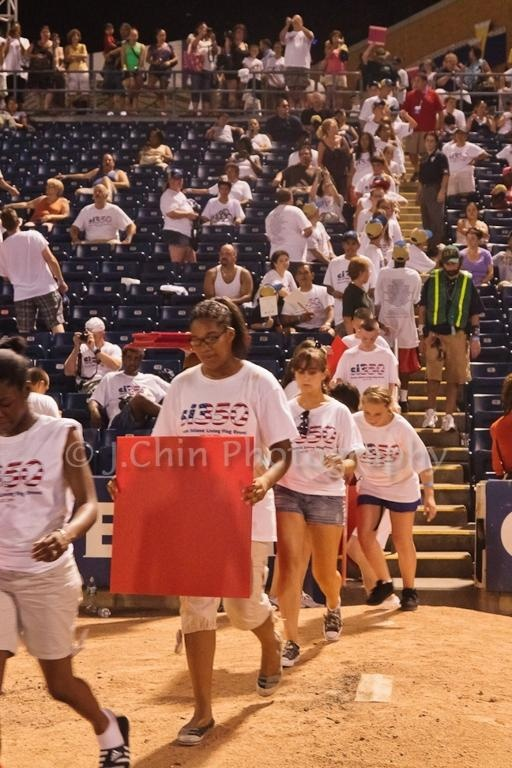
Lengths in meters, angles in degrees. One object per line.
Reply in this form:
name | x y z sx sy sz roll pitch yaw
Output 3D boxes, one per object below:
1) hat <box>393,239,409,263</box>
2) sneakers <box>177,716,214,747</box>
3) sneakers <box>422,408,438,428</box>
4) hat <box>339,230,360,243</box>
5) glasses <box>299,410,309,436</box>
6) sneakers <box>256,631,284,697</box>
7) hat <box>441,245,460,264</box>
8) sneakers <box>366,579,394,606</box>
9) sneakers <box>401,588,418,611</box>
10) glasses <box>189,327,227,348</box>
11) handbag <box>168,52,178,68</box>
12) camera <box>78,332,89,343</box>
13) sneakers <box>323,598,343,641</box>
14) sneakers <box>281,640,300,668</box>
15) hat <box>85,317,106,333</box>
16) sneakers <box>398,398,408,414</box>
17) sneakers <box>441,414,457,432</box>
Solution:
hat | 1.591 -1.482 8.973 0.171 0.251 0.289 -2 -3 12
sneakers | -0.260 1.466 3.378 0.075 0.066 0.195 -8 -18 12
sneakers | 1.874 0.382 8.789 0.133 0.205 0.154 -2 -3 10
hat | 1.093 -1.694 9.344 0.174 0.193 0.273 -2 -3 6
glasses | 0.287 0.237 4.793 0.068 0.128 0.087 0 -8 -1
sneakers | 0.076 1.335 3.848 0.125 0.329 0.126 5 9 34
hat | 2.128 -1.436 8.955 0.212 0.169 0.286 -4 10 4
sneakers | 0.921 1.565 6.037 0.187 0.190 0.129 -2 -3 14
sneakers | 1.147 1.624 6.107 0.118 0.158 0.138 -2 -3 4
glasses | -0.189 -0.180 3.190 0.132 0.066 0.065 -1 -3 -2
handbag | -1.987 -7.827 19.639 0.250 0.310 0.094 3 -30 6
camera | -1.896 -0.492 8.818 0.075 0.124 0.125 14 29 16
sneakers | 0.490 1.533 5.187 0.107 0.210 0.158 -2 -3 1
sneakers | 0.198 1.519 4.533 0.076 0.087 0.216 -4 -15 14
hat | -1.805 -0.671 9.101 0.179 0.138 0.251 2 5 -1
sneakers | 1.587 0.232 8.773 0.125 0.114 0.218 8 -26 12
sneakers | 2.052 0.416 8.668 0.151 0.186 0.163 -2 -3 11
